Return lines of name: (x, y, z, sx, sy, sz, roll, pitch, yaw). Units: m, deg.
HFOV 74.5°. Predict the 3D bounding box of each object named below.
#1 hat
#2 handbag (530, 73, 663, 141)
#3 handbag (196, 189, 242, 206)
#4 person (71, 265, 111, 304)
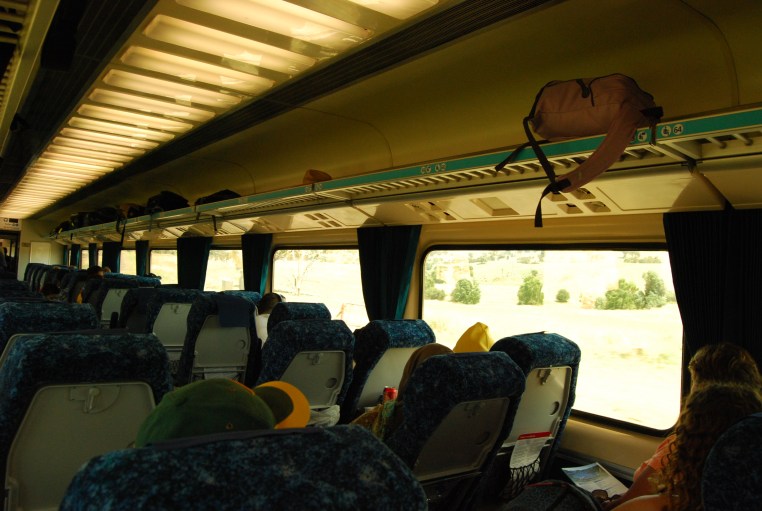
hat: (-0.694, 0.594, 2.150, 0.767, 0.228, 0.468, 1, 28, -11)
handbag: (1.608, -1.120, 3.681, 0.617, 0.309, 0.935, -3, 5, -24)
handbag: (-2.942, -1.080, 9.144, 0.820, 0.175, 0.707, -4, -3, -43)
person: (-5.513, 0.557, 9.478, 0.756, 0.683, 0.576, 14, 1, 41)
